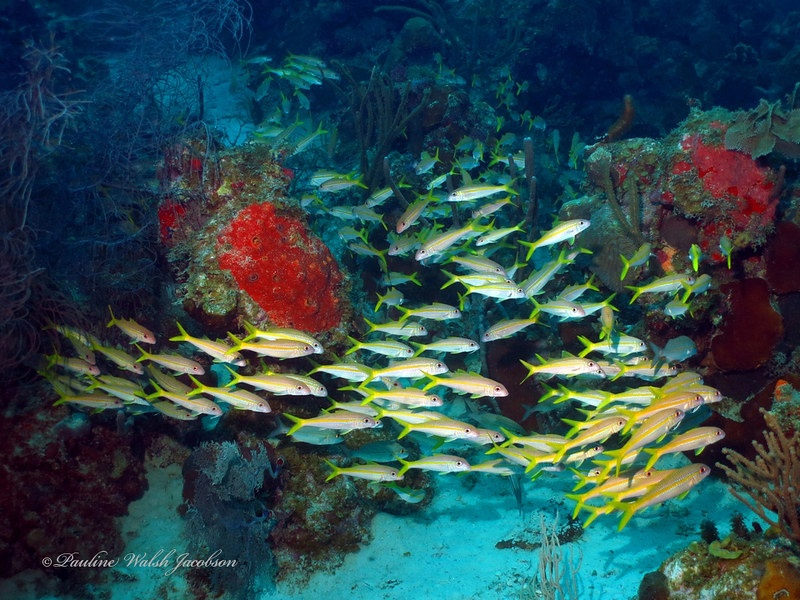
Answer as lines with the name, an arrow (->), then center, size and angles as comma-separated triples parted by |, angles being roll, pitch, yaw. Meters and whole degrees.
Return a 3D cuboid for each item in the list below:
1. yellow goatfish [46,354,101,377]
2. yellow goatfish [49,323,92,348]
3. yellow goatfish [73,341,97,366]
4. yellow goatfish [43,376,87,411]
yellow goatfish -> -5.745, 1.161, 14.024 | 0.798, 0.309, 0.168 | 14, 9, 0
yellow goatfish -> -5.817, 0.621, 14.193 | 0.650, 0.398, 0.231 | -1, 5, 10
yellow goatfish -> -5.511, 0.939, 14.017 | 0.585, 0.266, 0.142 | 29, 21, 17
yellow goatfish -> -5.872, 1.619, 14.004 | 0.810, 0.426, 0.188 | 32, -4, 4
